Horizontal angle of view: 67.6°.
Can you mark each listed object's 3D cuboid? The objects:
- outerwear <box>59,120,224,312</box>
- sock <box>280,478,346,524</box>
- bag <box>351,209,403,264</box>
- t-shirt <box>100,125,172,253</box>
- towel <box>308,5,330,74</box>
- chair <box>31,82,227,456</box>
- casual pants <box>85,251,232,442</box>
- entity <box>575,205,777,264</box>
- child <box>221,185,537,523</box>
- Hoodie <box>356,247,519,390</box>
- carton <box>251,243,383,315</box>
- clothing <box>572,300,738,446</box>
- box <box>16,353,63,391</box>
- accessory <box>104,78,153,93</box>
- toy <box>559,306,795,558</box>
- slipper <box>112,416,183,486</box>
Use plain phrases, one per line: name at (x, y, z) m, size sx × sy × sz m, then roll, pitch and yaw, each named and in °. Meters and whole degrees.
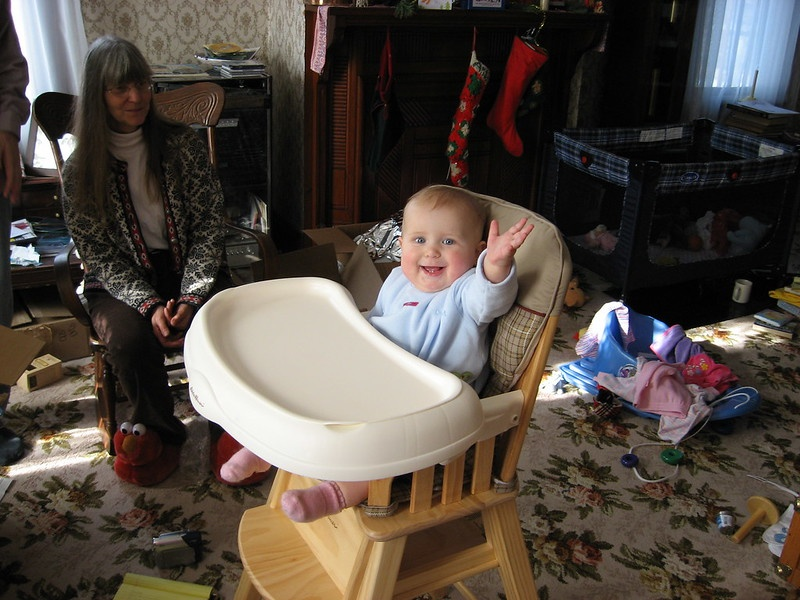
outerwear at (-0.866, -0.338, 2.359) m, size 0.581 × 0.776 × 0.643 m, roll -18°, pitch 26°, yaw -25°
sock at (-0.180, 0.431, 1.254) m, size 0.119 × 0.052 × 0.075 m, roll 0°, pitch 33°, yaw -24°
bag at (-0.072, -0.314, 2.965) m, size 0.313 × 0.131 × 0.242 m, roll -27°, pitch 48°, yaw -21°
t-shirt at (-0.897, -0.379, 2.062) m, size 0.236 × 0.346 × 0.079 m, roll -20°, pitch 14°, yaw -29°
towel at (-0.414, -1.341, 3.070) m, size 0.091 × 0.320 × 0.235 m, roll -1°, pitch 21°, yaw -10°
chair at (-1.011, -0.134, 2.490) m, size 0.700 × 1.307 × 0.679 m, roll -12°, pitch 49°, yaw -28°
casual pants at (-0.786, 0.131, 1.919) m, size 0.373 × 0.616 × 0.445 m, roll -19°, pitch 39°, yaw -28°
entity at (1.605, -0.355, 3.301) m, size 0.780 × 0.148 × 0.423 m, roll -6°, pitch 36°, yaw -15°
child at (-0.035, 0.096, 1.630) m, size 0.727 × 0.860 × 0.812 m, roll -1°, pitch 12°, yaw -31°
Hoodie at (0.086, 0.009, 1.473) m, size 0.193 × 0.368 × 0.390 m, roll -25°, pitch 46°, yaw -35°
carton at (-0.252, -0.044, 2.252) m, size 0.320 × 0.110 × 0.319 m, roll -2°, pitch 57°, yaw -5°
clothing at (1.031, 0.309, 2.526) m, size 0.532 × 0.190 × 0.527 m, roll -29°, pitch 43°, yaw -32°
box at (-1.543, 0.315, 2.549) m, size 0.109 × 0.095 × 0.149 m, roll 21°, pitch 26°, yaw 23°
accessory at (-0.895, -0.718, 1.994) m, size 0.161 × 0.048 × 0.071 m, roll -17°, pitch 29°, yaw -41°
toy at (1.135, 0.572, 2.590) m, size 0.643 × 0.411 × 0.910 m, roll -22°, pitch 46°, yaw -31°
slipper at (-0.862, 0.528, 2.134) m, size 0.193 × 0.174 × 0.225 m, roll 3°, pitch 29°, yaw 9°
